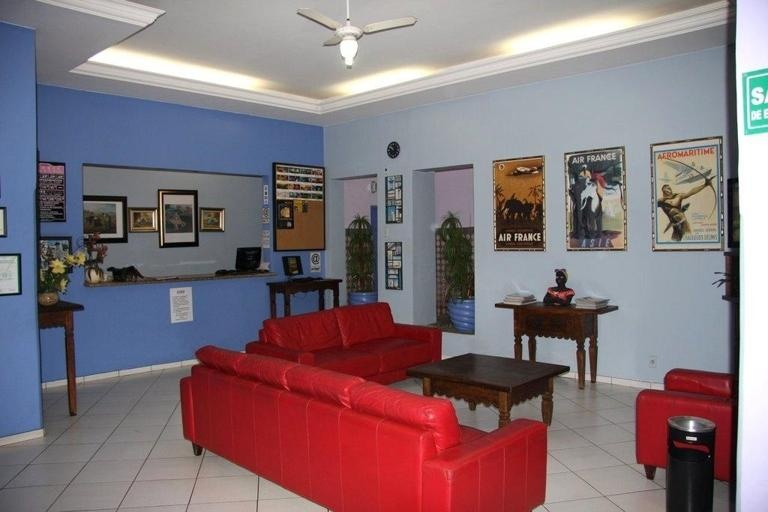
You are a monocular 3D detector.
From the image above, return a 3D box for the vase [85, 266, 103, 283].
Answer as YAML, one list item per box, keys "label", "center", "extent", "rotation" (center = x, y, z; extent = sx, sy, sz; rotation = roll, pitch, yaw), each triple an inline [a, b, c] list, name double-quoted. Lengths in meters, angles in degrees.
- label: "vase"
  center: [-3.973, 0.259, 7.359]
  extent: [0.207, 0.240, 0.209]
  rotation: [-4, -8, 36]

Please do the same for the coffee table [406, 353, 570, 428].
- label: "coffee table"
  center: [1.035, 1.306, 5.681]
  extent: [0.983, 0.485, 0.994]
  rotation: [1, 4, 41]

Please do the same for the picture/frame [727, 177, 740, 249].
- label: "picture/frame"
  center: [3.864, -0.463, 5.922]
  extent: [0.118, 0.780, 0.383]
  rotation: [4, 11, 27]

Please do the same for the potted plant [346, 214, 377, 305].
- label: "potted plant"
  center: [-0.428, 0.038, 9.961]
  extent: [0.586, 1.529, 1.657]
  rotation: [-2, 9, -2]

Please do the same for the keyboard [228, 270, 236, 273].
- label: "keyboard"
  center: [-2.453, 0.238, 8.642]
  extent: [0.123, 0.031, 0.205]
  rotation: [-4, 10, -19]

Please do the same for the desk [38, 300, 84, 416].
- label: "desk"
  center: [-3.768, 1.184, 6.355]
  extent: [0.433, 1.324, 0.560]
  rotation: [-7, 11, -31]

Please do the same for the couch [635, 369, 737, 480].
- label: "couch"
  center: [2.670, 1.551, 4.910]
  extent: [0.946, 1.017, 0.968]
  rotation: [0, -2, 33]

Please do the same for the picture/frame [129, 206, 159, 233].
- label: "picture/frame"
  center: [-3.991, -0.601, 8.843]
  extent: [0.436, 0.434, 0.031]
  rotation: [-4, 5, -38]

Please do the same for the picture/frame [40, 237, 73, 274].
- label: "picture/frame"
  center: [-4.222, -0.004, 6.865]
  extent: [0.033, 0.497, 0.501]
  rotation: [-2, -2, 32]

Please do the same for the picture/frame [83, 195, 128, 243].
- label: "picture/frame"
  center: [-4.392, -0.590, 8.386]
  extent: [0.066, 0.787, 0.791]
  rotation: [1, 3, 44]

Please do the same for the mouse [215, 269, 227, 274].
- label: "mouse"
  center: [-2.582, 0.253, 8.587]
  extent: [0.101, 0.041, 0.138]
  rotation: [1, 1, 6]

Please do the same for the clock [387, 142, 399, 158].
- label: "clock"
  center: [0.158, -1.761, 8.908]
  extent: [0.055, 0.271, 0.270]
  rotation: [-11, 13, -43]

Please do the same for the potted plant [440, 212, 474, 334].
- label: "potted plant"
  center: [1.189, 0.258, 8.685]
  extent: [0.526, 1.873, 1.460]
  rotation: [0, 10, 6]

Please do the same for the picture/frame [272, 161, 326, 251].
- label: "picture/frame"
  center: [-1.489, -0.847, 9.433]
  extent: [1.152, 1.549, 0.181]
  rotation: [-9, 13, -40]

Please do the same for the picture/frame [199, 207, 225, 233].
- label: "picture/frame"
  center: [-3.068, -0.642, 9.496]
  extent: [0.447, 0.445, 0.033]
  rotation: [5, -3, -41]
